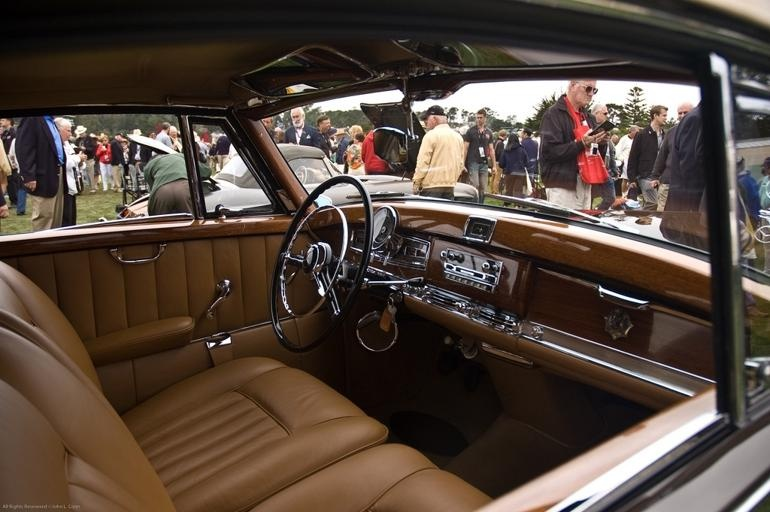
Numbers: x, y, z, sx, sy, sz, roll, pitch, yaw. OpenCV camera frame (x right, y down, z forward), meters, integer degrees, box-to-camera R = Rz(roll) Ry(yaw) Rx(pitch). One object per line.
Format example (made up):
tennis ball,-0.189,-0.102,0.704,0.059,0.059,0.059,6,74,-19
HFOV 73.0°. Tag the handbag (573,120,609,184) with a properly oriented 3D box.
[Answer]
handbag,0.891,-0.442,2.244,0.134,0.226,0.052,3,23,30

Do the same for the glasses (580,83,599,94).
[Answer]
glasses,0.689,-0.558,1.741,0.035,0.012,0.035,22,-6,-43

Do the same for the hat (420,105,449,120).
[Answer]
hat,0.225,-0.658,2.377,0.076,0.045,0.054,15,23,19
